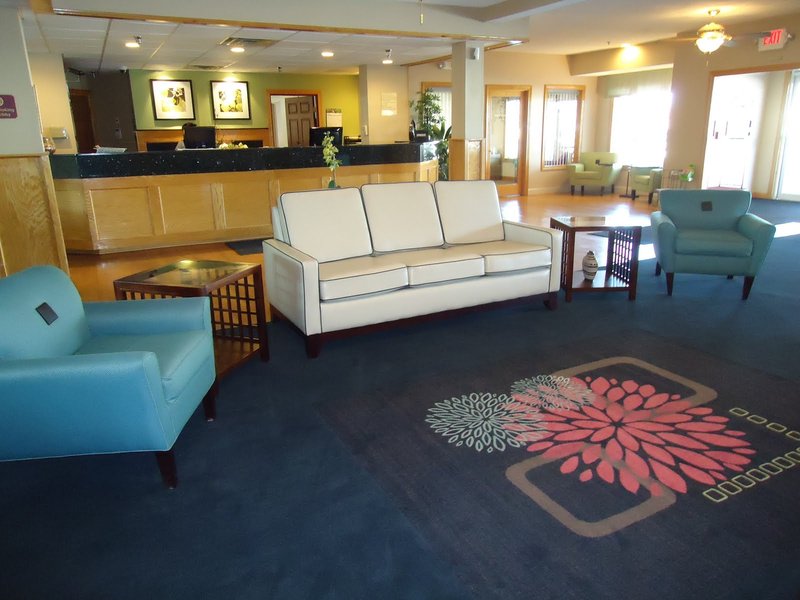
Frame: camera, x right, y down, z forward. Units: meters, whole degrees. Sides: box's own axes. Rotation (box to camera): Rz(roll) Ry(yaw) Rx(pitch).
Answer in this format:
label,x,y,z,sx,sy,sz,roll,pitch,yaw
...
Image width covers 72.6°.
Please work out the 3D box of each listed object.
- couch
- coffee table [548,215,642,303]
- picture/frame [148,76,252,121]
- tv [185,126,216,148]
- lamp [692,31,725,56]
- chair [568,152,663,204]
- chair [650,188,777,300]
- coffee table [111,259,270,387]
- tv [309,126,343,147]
label,x,y,z,sx,sy,sz,roll,pitch,yaw
couch,0.155,-0.425,4.758,2.533,1.174,1.043,-10,17,-29
coffee table,2.017,-0.473,5.369,0.917,0.973,0.899,-1,16,2
picture/frame,-4.065,-4.062,11.107,1.876,0.808,0.157,-10,20,-22
tv,-2.949,-2.368,7.955,0.296,0.299,0.505,-19,24,-40
lamp,3.611,-2.995,6.346,0.269,0.177,0.412,9,22,31
chair,4.467,-2.619,11.479,2.096,0.891,1.530,12,24,38
chair,2.967,-0.552,5.281,1.012,0.913,0.834,5,20,22
coffee table,-1.457,-0.058,4.022,1.038,1.040,1.022,3,14,16
tv,-1.170,-2.539,8.520,0.479,0.276,1.242,-5,19,-7
